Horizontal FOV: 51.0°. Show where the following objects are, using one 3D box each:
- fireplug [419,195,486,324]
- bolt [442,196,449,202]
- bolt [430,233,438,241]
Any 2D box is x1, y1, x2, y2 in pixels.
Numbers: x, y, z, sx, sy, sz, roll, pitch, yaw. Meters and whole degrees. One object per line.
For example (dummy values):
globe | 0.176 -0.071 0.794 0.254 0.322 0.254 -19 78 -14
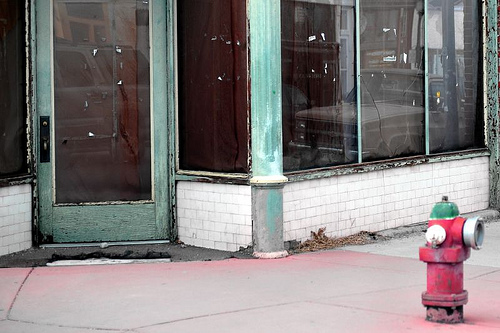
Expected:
fireplug | 1.938 0.889 5.088 0.588 1.219 0.358 1 4 17
bolt | 1.881 0.305 5.079 0.074 0.061 0.077 2 3 30
bolt | 1.732 0.655 4.964 0.043 0.086 0.045 -7 19 -28
